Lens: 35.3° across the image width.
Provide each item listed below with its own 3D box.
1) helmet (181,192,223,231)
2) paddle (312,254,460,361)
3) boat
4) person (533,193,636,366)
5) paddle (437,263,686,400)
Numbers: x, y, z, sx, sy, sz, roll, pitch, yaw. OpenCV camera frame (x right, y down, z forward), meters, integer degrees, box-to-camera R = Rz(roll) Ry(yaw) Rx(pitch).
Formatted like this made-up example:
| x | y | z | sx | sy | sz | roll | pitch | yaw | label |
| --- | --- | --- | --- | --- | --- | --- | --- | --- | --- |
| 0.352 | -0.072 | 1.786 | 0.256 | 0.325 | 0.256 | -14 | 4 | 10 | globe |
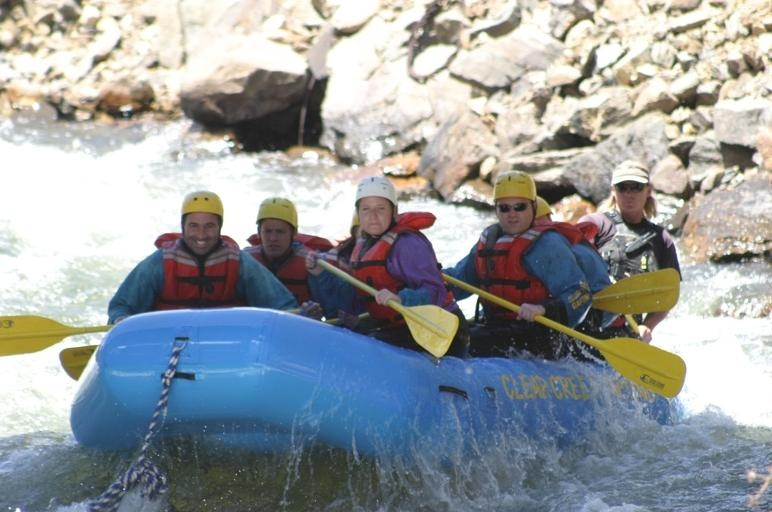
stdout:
| x | y | z | sx | sy | sz | roll | pitch | yaw | label |
| --- | --- | --- | --- | --- | --- | --- | --- | --- | --- |
| -2.185 | -0.553 | 14.395 | 0.480 | 0.425 | 0.187 | 0 | 3 | -10 | helmet |
| -0.019 | 0.528 | 14.170 | 1.951 | 0.573 | 0.091 | 29 | 2 | 21 | paddle |
| -0.538 | 1.512 | 13.656 | 4.319 | 0.849 | 2.378 | 8 | -12 | -23 | boat |
| 2.366 | 0.220 | 14.907 | 0.622 | 1.851 | 1.500 | -21 | -5 | -44 | person |
| 1.988 | 0.929 | 14.459 | 3.732 | 0.531 | 0.147 | 24 | 16 | 16 | paddle |
